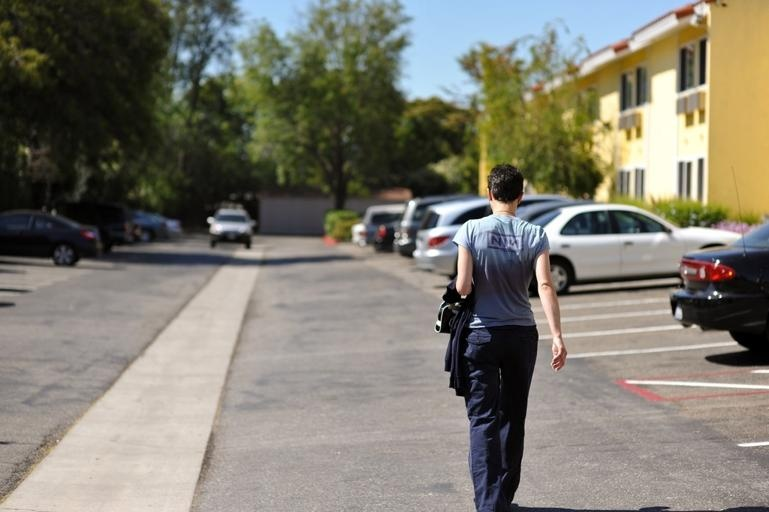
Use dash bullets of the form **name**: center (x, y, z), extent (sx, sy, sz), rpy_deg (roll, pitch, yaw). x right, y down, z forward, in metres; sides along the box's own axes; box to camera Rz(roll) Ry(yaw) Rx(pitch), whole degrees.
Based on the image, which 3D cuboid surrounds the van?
- **van**: center (-12.058, -1.141, 33.214), extent (3.958, 1.597, 1.889), rpy_deg (6, 3, 0)

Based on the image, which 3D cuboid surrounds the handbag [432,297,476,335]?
- **handbag**: center (0.641, 0.554, 7.950), extent (0.346, 0.362, 0.257), rpy_deg (5, 7, 35)

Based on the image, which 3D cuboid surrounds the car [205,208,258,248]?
- **car**: center (-7.857, -1.342, 42.942), extent (2.088, 1.947, 2.725), rpy_deg (-2, 5, -12)

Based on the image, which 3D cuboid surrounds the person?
- **person**: center (1.128, 0.780, 7.913), extent (0.891, 3.260, 0.579), rpy_deg (-2, 5, -14)
